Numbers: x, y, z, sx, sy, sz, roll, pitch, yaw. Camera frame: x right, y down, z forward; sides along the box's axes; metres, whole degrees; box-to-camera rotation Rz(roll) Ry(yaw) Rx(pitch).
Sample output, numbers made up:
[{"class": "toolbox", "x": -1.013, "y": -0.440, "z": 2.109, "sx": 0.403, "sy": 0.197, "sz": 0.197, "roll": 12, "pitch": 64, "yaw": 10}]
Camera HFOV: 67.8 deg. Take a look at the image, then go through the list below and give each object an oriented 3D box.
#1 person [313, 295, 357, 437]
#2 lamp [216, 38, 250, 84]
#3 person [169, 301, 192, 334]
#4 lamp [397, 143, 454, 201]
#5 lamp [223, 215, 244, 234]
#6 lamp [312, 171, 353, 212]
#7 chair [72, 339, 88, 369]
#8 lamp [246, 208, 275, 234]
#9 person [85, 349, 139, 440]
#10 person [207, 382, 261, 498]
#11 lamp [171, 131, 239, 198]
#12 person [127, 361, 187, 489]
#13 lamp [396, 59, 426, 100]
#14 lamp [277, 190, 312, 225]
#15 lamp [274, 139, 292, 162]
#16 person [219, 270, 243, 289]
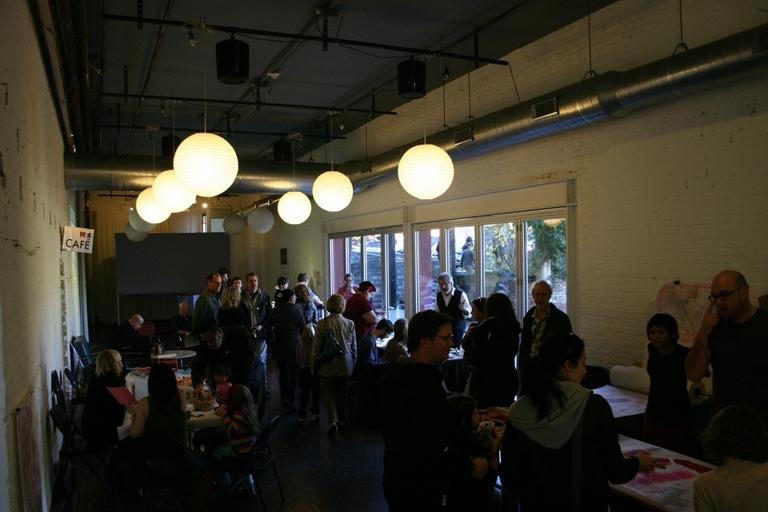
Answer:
[{"class": "person", "x": -0.687, "y": 1.468, "z": 7.932, "sx": 0.636, "sy": 1.866, "sz": 0.418, "roll": -3, "pitch": 5, "yaw": -21}, {"class": "lamp", "x": -1.930, "y": -2.469, "z": 7.225, "sx": 0.357, "sy": 0.537, "sz": 0.312, "roll": 3, "pitch": 7, "yaw": 41}, {"class": "person", "x": -3.619, "y": 1.201, "z": 10.328, "sx": 0.392, "sy": 0.729, "sz": 0.427, "roll": -7, "pitch": -7, "yaw": 40}, {"class": "lamp", "x": 0.432, "y": -0.872, "z": 6.007, "sx": 0.538, "sy": 0.637, "sz": 0.550, "roll": 3, "pitch": 36, "yaw": 6}, {"class": "lamp", "x": -3.561, "y": -0.682, "z": 13.553, "sx": 0.442, "sy": 0.519, "sz": 0.450, "roll": -7, "pitch": -25, "yaw": -5}, {"class": "lamp", "x": -0.631, "y": -0.774, "z": 6.785, "sx": 0.424, "sy": 0.450, "sz": 0.307, "roll": -2, "pitch": 5, "yaw": -10}, {"class": "chair", "x": -5.390, "y": 1.675, "z": 10.086, "sx": 0.250, "sy": 0.500, "sz": 0.818, "roll": -4, "pitch": 5, "yaw": -28}, {"class": "lamp", "x": -2.606, "y": -0.759, "z": 11.921, "sx": 0.442, "sy": 0.507, "sz": 0.498, "roll": -4, "pitch": 5, "yaw": -26}, {"class": "person", "x": -3.065, "y": 1.629, "z": 6.488, "sx": 0.669, "sy": 1.140, "sz": 0.532, "roll": -2, "pitch": 11, "yaw": -38}, {"class": "person", "x": -1.599, "y": 1.977, "z": 6.047, "sx": 0.502, "sy": 1.359, "sz": 0.613, "roll": -3, "pitch": 5, "yaw": -18}, {"class": "lamp", "x": -1.633, "y": -0.880, "z": 5.518, "sx": 0.563, "sy": 0.654, "sz": 0.570, "roll": -1, "pitch": 9, "yaw": -2}, {"class": "person", "x": -2.143, "y": 1.569, "z": 5.392, "sx": 0.502, "sy": 1.053, "sz": 0.593, "roll": -3, "pitch": 5, "yaw": -23}, {"class": "lamp", "x": 0.364, "y": -2.436, "z": 7.770, "sx": 0.379, "sy": 0.514, "sz": 0.432, "roll": -1, "pitch": 5, "yaw": 0}, {"class": "lamp", "x": -1.211, "y": -0.643, "z": 7.592, "sx": 0.392, "sy": 0.404, "sz": 0.356, "roll": -3, "pitch": 5, "yaw": -14}, {"class": "lamp", "x": -2.110, "y": -2.156, "z": 11.677, "sx": 0.341, "sy": 0.492, "sz": 0.708, "roll": -3, "pitch": 5, "yaw": -13}, {"class": "person", "x": -3.231, "y": 0.488, "z": 11.938, "sx": 0.555, "sy": 0.439, "sz": 1.113, "roll": -1, "pitch": -1, "yaw": -25}]
